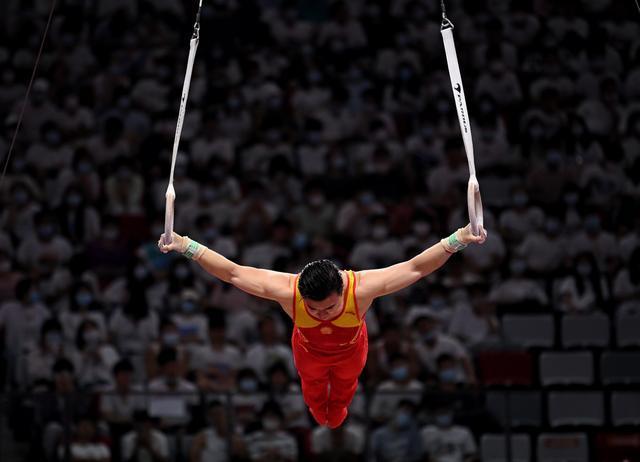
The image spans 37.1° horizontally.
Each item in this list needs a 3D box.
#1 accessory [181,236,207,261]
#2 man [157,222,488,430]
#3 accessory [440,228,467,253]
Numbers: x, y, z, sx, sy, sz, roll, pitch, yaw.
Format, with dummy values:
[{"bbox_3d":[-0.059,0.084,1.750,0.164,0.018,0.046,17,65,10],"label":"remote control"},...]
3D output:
[{"bbox_3d":[-1.068,0.137,8.192,0.233,0.160,0.093,26,30,-15],"label":"accessory"},{"bbox_3d":[0.045,0.827,8.488,2.470,1.493,1.331,-1,-11,3],"label":"man"},{"bbox_3d":[1.137,0.095,8.045,0.189,0.141,0.132,-33,-11,-3],"label":"accessory"}]
